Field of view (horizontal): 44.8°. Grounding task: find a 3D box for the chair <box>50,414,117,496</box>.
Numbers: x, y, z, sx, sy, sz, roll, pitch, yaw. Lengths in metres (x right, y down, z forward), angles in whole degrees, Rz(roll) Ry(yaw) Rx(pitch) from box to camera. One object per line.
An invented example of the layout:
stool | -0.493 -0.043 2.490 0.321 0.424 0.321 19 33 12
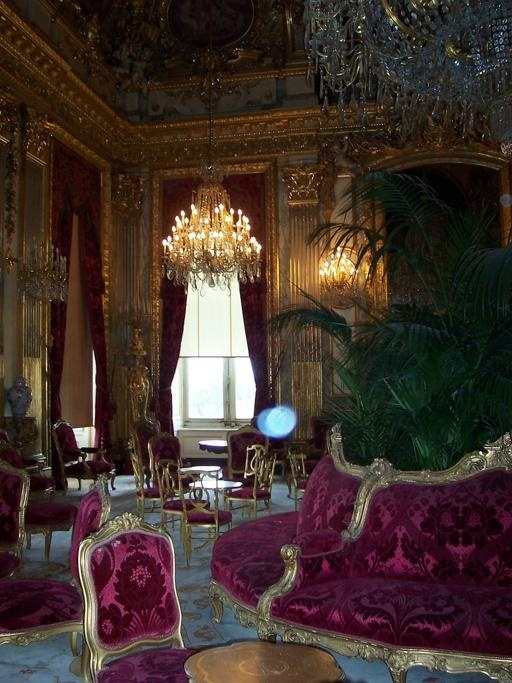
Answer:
chair | -2.044 1.374 7.436 0.628 0.848 0.587 -1 -4 16

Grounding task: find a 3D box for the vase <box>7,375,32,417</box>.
vase | -2.535 0.602 6.681 0.245 0.421 0.209 0 -5 -22

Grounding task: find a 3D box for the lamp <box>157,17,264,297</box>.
lamp | -0.557 -2.419 7.409 1.101 3.852 2.107 -1 -5 -5

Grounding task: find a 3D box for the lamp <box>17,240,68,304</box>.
lamp | -2.157 -0.769 6.237 0.469 0.700 0.487 -9 -5 33
